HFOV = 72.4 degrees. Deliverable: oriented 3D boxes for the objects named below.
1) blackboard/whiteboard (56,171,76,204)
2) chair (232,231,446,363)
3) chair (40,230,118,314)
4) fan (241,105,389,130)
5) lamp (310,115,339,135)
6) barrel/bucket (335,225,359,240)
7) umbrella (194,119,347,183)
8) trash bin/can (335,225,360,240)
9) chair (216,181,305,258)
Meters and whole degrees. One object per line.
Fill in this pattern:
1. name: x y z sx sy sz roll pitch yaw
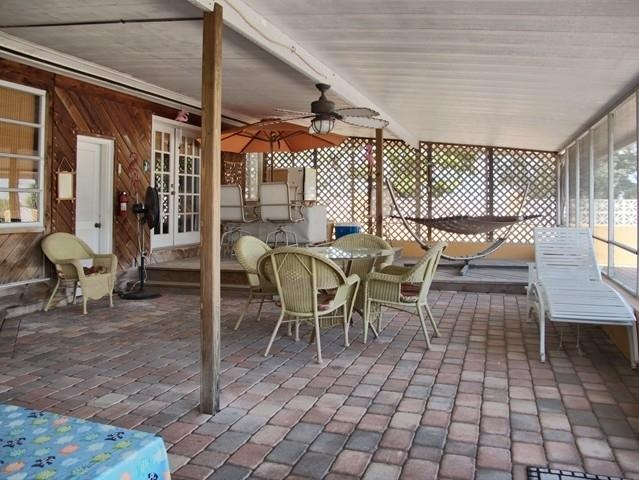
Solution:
1. blackboard/whiteboard: -3.364 -0.726 5.812 0.087 0.395 0.283 -1 5 8
2. chair: 0.245 0.468 4.069 1.578 0.550 1.440 0 -3 0
3. chair: -3.032 0.373 5.634 0.757 0.972 0.780 0 6 19
4. fan: -0.084 -1.774 6.254 1.483 0.121 1.491 1 2 37
5. lamp: 0.030 -1.298 4.977 0.266 0.137 0.240 2 -6 -32
6. barrel/bucket: 0.563 -0.170 8.983 0.434 0.186 0.359 -1 0 9
7. umbrella: -0.748 -1.619 7.413 2.335 0.713 1.845 -2 2 -6
8. trash bin/can: 0.551 -0.155 8.976 0.434 0.187 0.362 -1 0 13
9. chair: -0.900 -0.296 6.686 2.037 1.023 0.762 2 6 24
